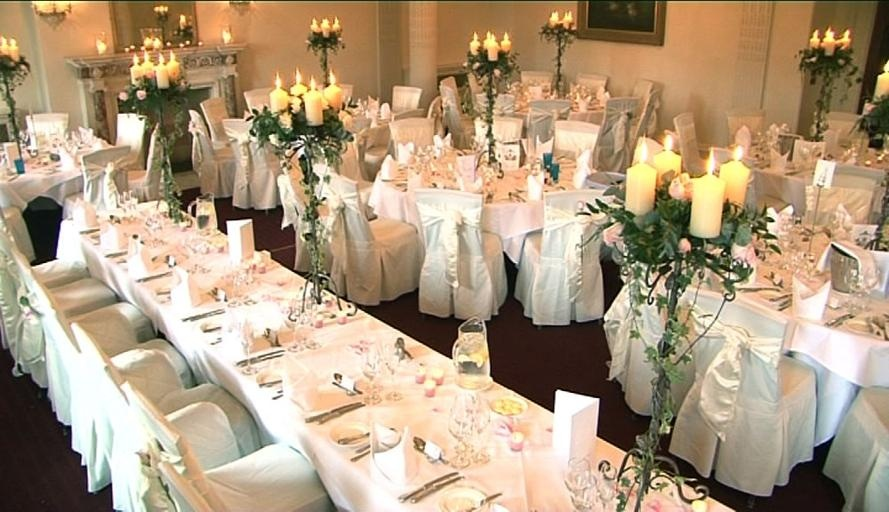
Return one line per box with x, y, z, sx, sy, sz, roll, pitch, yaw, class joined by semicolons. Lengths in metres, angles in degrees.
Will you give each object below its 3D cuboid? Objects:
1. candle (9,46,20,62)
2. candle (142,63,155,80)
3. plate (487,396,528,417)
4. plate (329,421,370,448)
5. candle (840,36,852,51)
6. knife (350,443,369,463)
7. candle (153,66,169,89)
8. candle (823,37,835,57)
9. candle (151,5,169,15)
-6.261;-2.935;8.345;0.098;0.177;0.244;-10;19;-21;candle
-3.166;-1.976;6.110;0.122;0.155;0.272;-10;19;-23;candle
0.502;1.158;4.438;0.284;0.082;0.168;-2;17;0;plate
-0.716;1.322;4.265;0.291;0.088;0.197;-3;17;-5;plate
5.692;-3.012;8.098;0.101;0.161;0.492;12;22;37;candle
-0.611;1.424;4.139;0.054;0.009;0.181;31;38;18;knife
-2.992;-1.892;6.049;0.137;0.238;0.061;-10;21;-22;candle
5.359;-2.895;7.944;0.149;0.245;0.148;6;49;31;candle
-5.241;-4.502;10.548;0.196;0.134;0.191;-7;12;-30;candle
